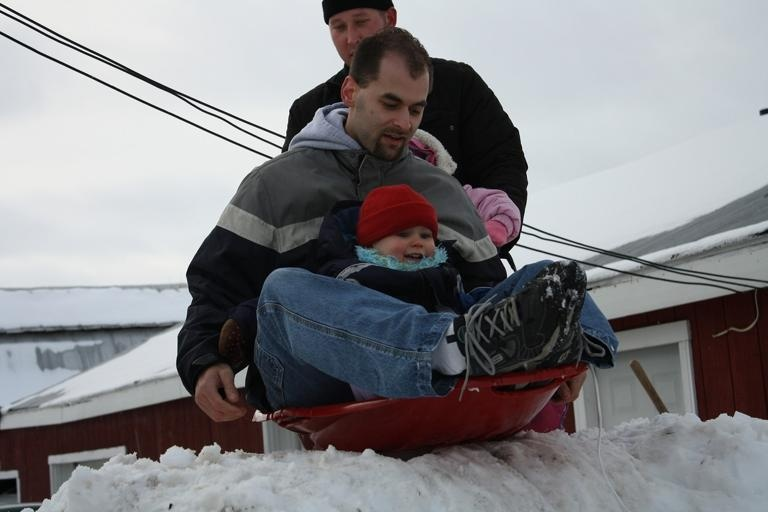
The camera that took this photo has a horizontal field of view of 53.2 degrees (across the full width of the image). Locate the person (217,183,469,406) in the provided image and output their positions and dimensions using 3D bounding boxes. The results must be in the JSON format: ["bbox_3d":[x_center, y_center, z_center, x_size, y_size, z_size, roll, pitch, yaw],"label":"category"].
[{"bbox_3d":[0.016,0.073,4.013,2.032,0.891,0.759,-3,-2,-30],"label":"person"}]

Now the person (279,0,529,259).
[{"bbox_3d":[0.109,-0.544,4.269,1.080,1.595,0.877,-19,-8,-16],"label":"person"}]

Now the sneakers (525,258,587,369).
[{"bbox_3d":[0.742,0.233,3.348,0.245,0.578,0.192,-5,16,-10],"label":"sneakers"}]

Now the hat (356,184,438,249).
[{"bbox_3d":[0.064,-0.196,3.896,0.332,0.283,0.328,4,-4,-41],"label":"hat"}]
